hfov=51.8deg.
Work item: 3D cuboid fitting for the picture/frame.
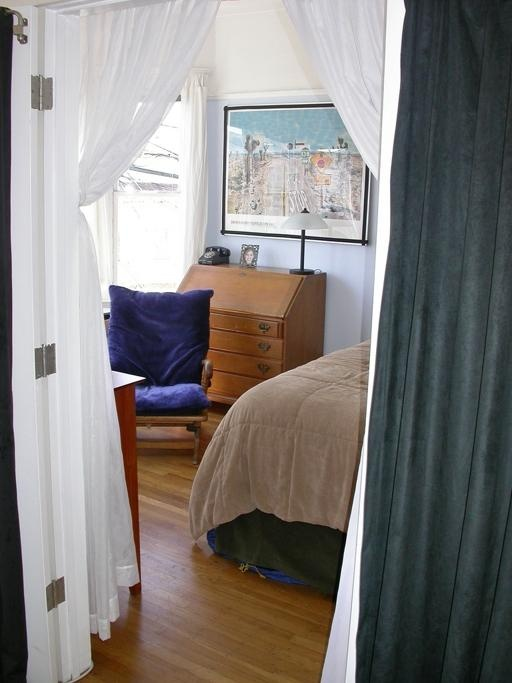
[{"bbox_3d":[0.318,-1.254,3.923,0.984,1.172,0.047,5,9,33],"label":"picture/frame"}]

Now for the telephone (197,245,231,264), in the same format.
[{"bbox_3d":[-0.341,-0.690,4.295,0.249,0.152,0.157,1,6,-9],"label":"telephone"}]

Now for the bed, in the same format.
[{"bbox_3d":[0.127,0.567,2.099,0.489,0.589,1.021,6,15,17],"label":"bed"}]

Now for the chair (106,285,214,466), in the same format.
[{"bbox_3d":[-0.607,0.221,3.321,0.574,1.123,0.812,-1,5,-4],"label":"chair"}]

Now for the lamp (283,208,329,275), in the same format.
[{"bbox_3d":[0.353,-0.723,3.906,0.306,0.687,0.388,0,8,-4],"label":"lamp"}]
